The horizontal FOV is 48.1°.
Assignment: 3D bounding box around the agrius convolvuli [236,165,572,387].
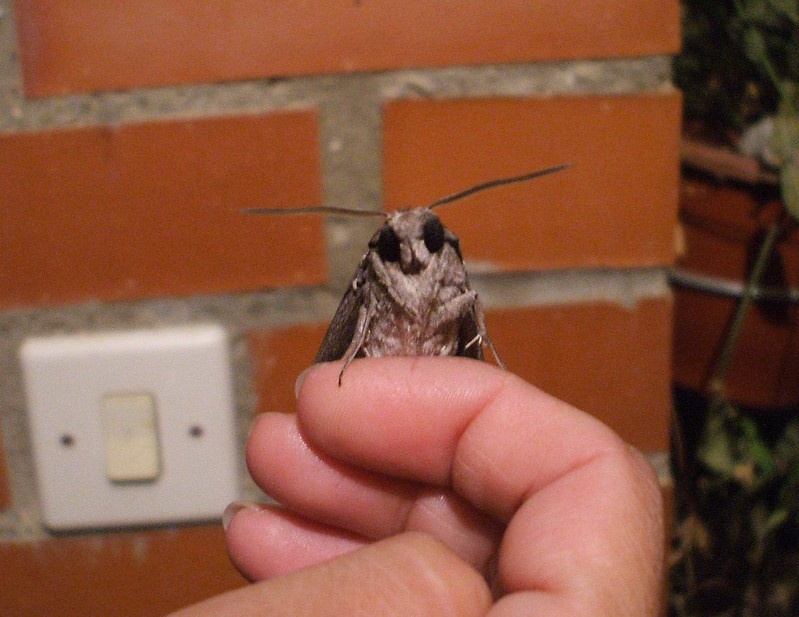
[{"bbox_3d":[0.006,-0.094,1.927,0.589,0.523,0.269,-5,16,-2],"label":"agrius convolvuli"}]
